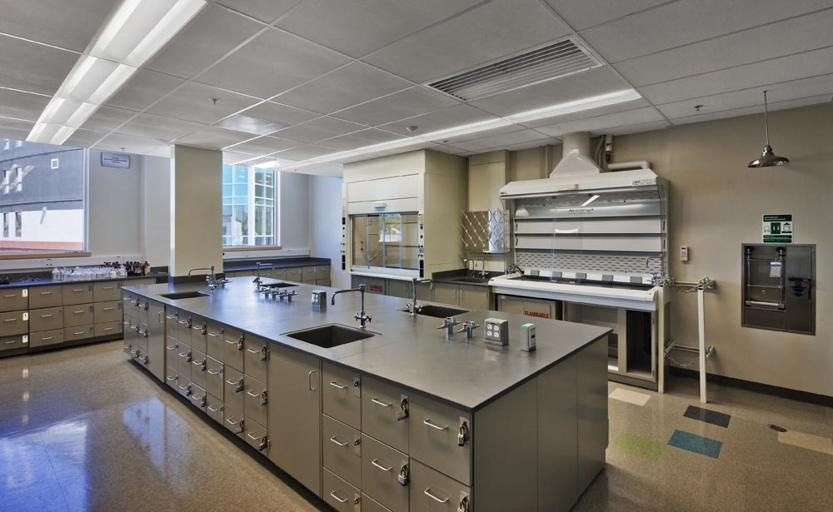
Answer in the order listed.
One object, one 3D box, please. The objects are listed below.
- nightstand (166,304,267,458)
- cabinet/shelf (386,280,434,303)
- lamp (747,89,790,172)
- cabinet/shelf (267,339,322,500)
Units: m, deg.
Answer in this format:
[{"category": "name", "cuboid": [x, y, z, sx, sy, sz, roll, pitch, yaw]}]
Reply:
[{"category": "nightstand", "cuboid": [-2.180, 1.414, 5.732, 1.619, 0.737, 0.623, 3, 0, 43]}, {"category": "cabinet/shelf", "cuboid": [-0.057, 0.541, 7.867, 0.442, 0.375, 0.142, -4, -6, 41]}, {"category": "lamp", "cuboid": [4.202, -1.460, 6.066, 0.401, 0.904, 0.927, 9, 16, 34]}, {"category": "cabinet/shelf", "cuboid": [-1.177, 1.577, 5.065, 0.837, 1.294, 0.267, 9, 17, 34]}]
